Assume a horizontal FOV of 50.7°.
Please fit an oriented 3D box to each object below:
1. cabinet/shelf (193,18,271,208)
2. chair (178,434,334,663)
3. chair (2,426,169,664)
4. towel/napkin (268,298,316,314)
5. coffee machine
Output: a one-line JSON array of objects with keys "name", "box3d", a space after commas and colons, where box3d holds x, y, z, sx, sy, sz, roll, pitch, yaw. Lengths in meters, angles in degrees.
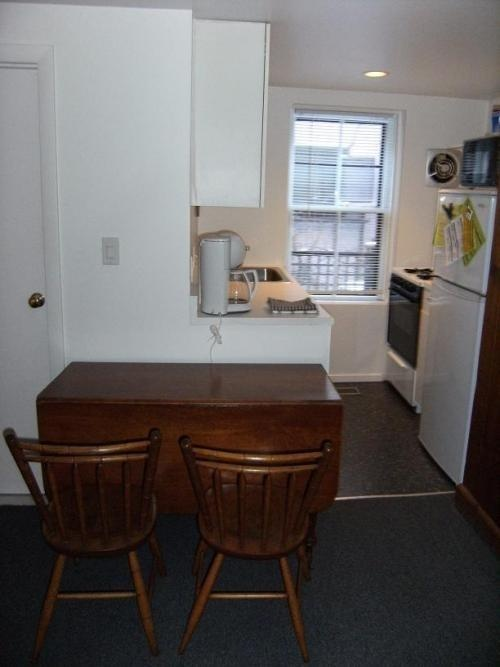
[{"name": "cabinet/shelf", "box3d": [-0.075, -0.795, 1.970, 0.273, 0.622, 0.182, 1, 9, -3]}, {"name": "chair", "box3d": [0.014, 0.592, 1.589, 0.422, 0.757, 0.574, 2, 9, 1]}, {"name": "chair", "box3d": [-0.479, 0.576, 1.575, 0.416, 0.761, 0.527, 0, 10, -10]}, {"name": "towel/napkin", "box3d": [0.186, -0.119, 2.294, 0.201, 0.054, 0.154, 1, 10, -5]}, {"name": "coffee machine", "box3d": [-0.086, -0.255, 2.181, 0.229, 0.335, 0.183, -2, 22, -5]}]
